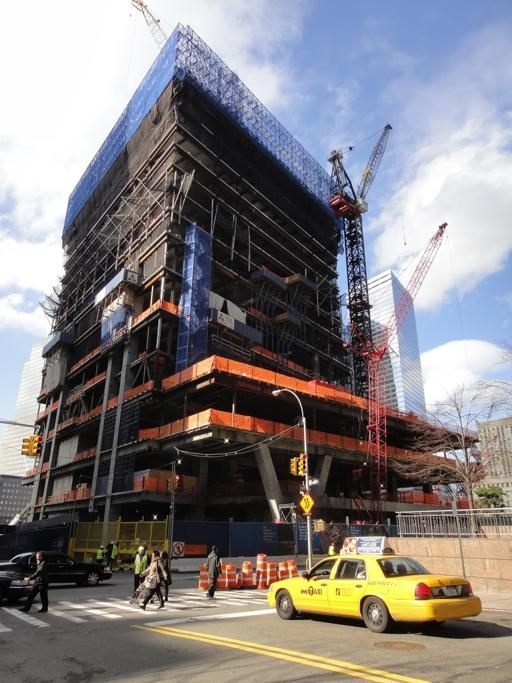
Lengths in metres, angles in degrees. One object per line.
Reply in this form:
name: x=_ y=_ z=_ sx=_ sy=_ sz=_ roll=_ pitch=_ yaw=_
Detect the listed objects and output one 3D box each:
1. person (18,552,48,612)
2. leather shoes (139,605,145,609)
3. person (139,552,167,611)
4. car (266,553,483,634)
person: x=-5.569 y=6.121 z=12.727 sx=0.597 sy=1.343 sz=2.239 roll=9 pitch=-24 yaw=-21
leather shoes: x=-2.760 y=6.491 z=12.149 sx=0.160 sy=0.079 sz=0.219 roll=10 pitch=-19 yaw=-22
person: x=-2.575 y=6.041 z=12.597 sx=0.602 sy=1.334 sz=2.128 roll=4 pitch=-23 yaw=-11
car: x=2.071 y=4.969 z=10.001 sx=1.514 sy=1.258 sz=4.473 roll=15 pitch=-27 yaw=-33
